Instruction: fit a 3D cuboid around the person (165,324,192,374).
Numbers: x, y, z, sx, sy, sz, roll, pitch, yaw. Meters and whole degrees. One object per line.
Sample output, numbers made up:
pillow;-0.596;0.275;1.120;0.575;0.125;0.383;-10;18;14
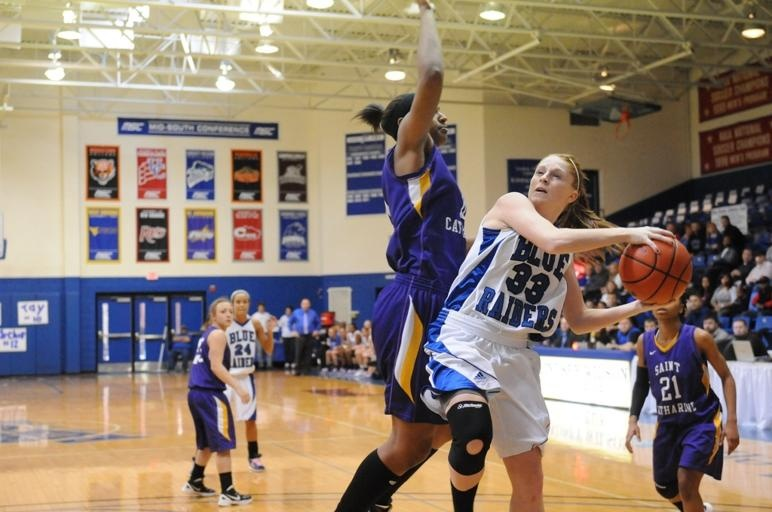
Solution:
person;-6.683;2.988;23.015;0.677;1.785;0.587;-4;-36;-2

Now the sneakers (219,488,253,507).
sneakers;-1.855;2.935;8.645;0.462;0.236;0.173;1;-5;-10

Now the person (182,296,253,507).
person;-2.118;1.793;8.901;0.667;2.490;0.881;0;-1;-32
